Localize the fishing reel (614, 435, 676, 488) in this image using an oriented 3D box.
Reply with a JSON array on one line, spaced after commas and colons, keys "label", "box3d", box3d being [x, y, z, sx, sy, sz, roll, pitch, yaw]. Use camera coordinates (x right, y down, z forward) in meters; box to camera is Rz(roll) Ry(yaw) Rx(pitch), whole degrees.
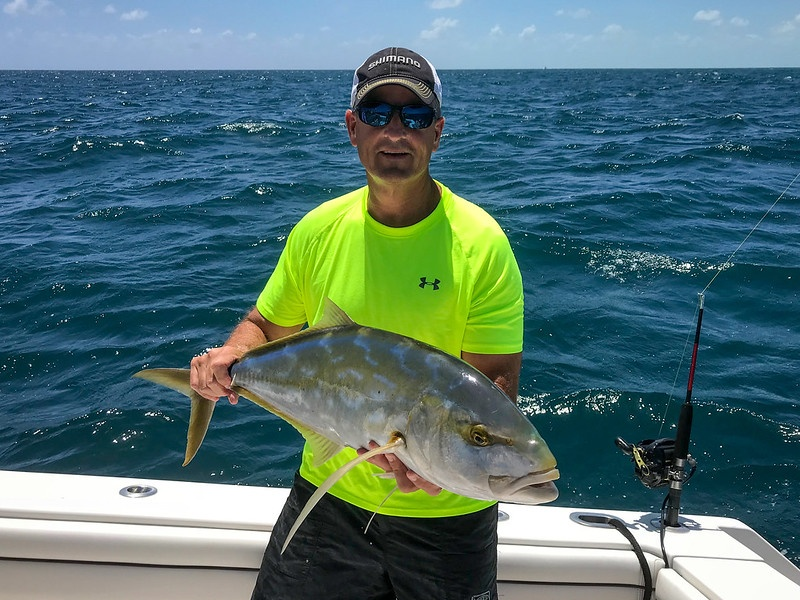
[{"label": "fishing reel", "box3d": [2.152, 1.380, 7.227, 0.305, 0.459, 0.400, -7, 25, -37]}]
